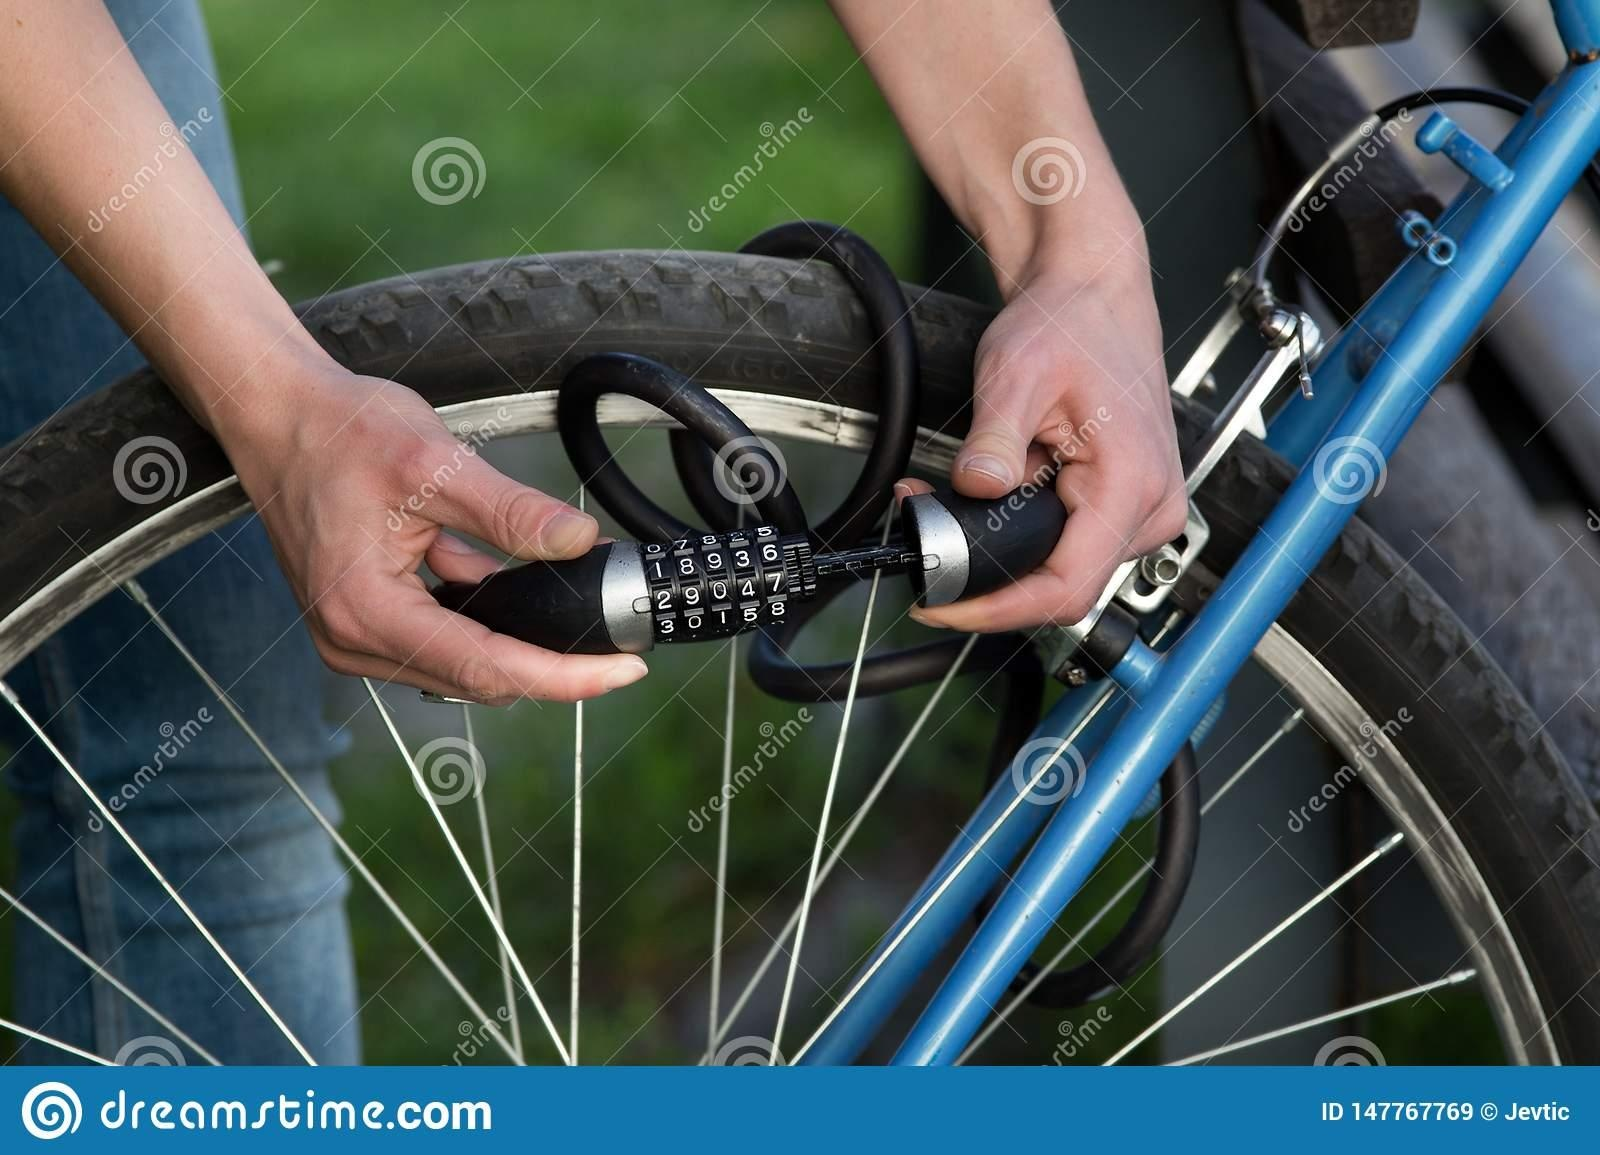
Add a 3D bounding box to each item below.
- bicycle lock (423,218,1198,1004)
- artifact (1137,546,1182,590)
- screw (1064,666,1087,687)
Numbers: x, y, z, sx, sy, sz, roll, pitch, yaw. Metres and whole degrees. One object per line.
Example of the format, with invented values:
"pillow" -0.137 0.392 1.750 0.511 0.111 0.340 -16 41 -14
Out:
"bicycle lock" -0.057 0.081 1.962 0.675 0.193 1.031 -26 80 -15
"artifact" 0.357 -0.011 1.670 0.036 0.044 0.038 -1 15 -10
"screw" 0.275 0.099 1.672 0.017 0.021 0.008 -6 26 10
